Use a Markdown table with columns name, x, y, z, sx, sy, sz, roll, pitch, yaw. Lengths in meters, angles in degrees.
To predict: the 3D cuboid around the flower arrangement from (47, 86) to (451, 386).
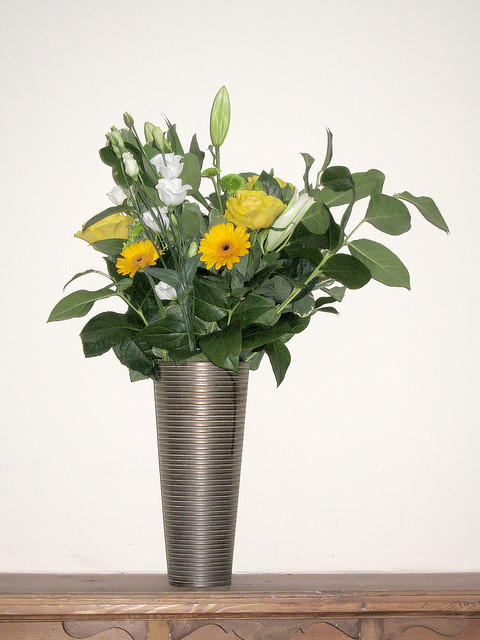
| name | x | y | z | sx | sy | sz | roll | pitch | yaw |
| --- | --- | --- | --- | --- | --- | --- | --- | --- | --- |
| flower arrangement | 0.028 | -0.124 | 0.917 | 0.483 | 0.266 | 0.313 | -8 | 45 | -6 |

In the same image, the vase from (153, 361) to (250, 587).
| name | x | y | z | sx | sy | sz | roll | pitch | yaw |
| --- | --- | --- | --- | --- | --- | --- | --- | --- | --- |
| vase | -0.060 | 0.198 | 0.903 | 0.117 | 0.282 | 0.069 | 4 | 0 | 8 |

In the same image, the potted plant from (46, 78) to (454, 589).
| name | x | y | z | sx | sy | sz | roll | pitch | yaw |
| --- | --- | --- | --- | --- | --- | --- | --- | --- | --- |
| potted plant | -0.019 | 0.047 | 1.335 | 0.810 | 0.768 | 0.685 | -6 | -8 | 39 |
